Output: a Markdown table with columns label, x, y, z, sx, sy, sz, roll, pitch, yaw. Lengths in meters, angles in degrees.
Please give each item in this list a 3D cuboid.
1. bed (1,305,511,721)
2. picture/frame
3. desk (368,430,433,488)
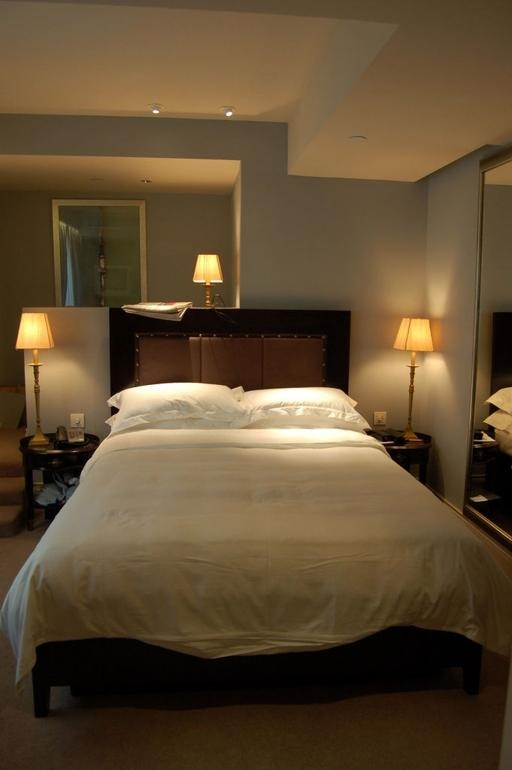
| label | x | y | z | sx | sy | sz | roll | pitch | yaw |
| --- | --- | --- | --- | --- | --- | --- | --- | --- | --- |
| bed | -0.007 | 0.465 | 2.559 | 1.203 | 0.913 | 1.679 | -1 | 9 | -3 |
| picture/frame | -1.217 | -0.999 | 4.851 | 0.704 | 0.974 | 0.035 | -7 | 38 | -21 |
| desk | 0.940 | 0.467 | 3.862 | 0.357 | 0.272 | 0.345 | 7 | -4 | 15 |
